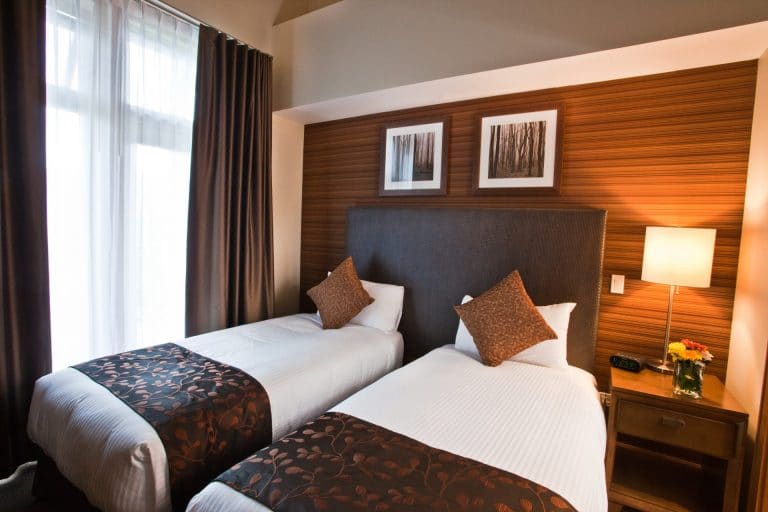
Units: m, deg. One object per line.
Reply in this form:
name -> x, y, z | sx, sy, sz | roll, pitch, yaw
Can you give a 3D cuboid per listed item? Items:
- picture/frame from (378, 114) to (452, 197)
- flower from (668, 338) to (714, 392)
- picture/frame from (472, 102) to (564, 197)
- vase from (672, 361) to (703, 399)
picture/frame -> 0.330, -0.942, 4.914 | 0.778, 0.750, 0.054 | 4, 5, 32
flower -> 2.155, 0.806, 3.703 | 0.338, 0.383, 0.343 | 2, -2, 36
picture/frame -> 1.200, -0.908, 4.461 | 0.723, 0.785, 0.056 | 12, 4, 24
vase -> 2.183, 0.916, 3.714 | 0.220, 0.285, 0.217 | 7, -30, 30
